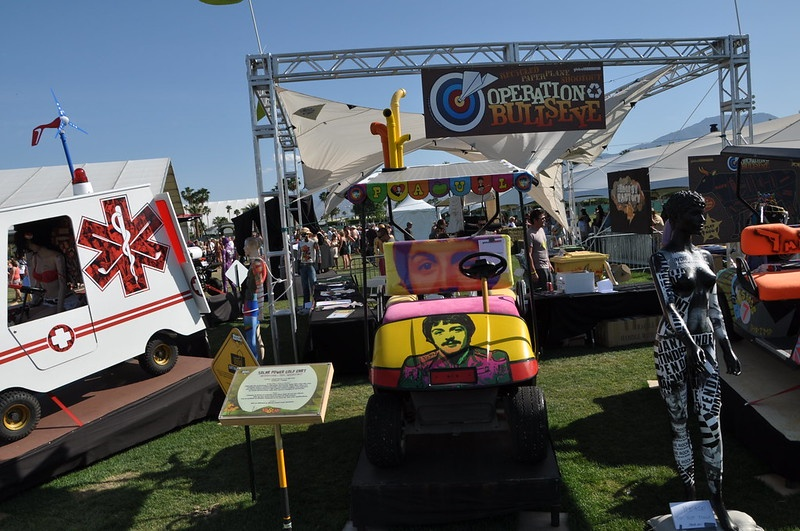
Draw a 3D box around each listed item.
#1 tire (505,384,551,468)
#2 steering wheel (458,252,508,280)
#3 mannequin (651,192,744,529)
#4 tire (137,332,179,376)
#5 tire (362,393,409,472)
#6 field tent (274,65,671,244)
[{"bbox_3d":[1.397,1.772,5.786,0.414,0.899,0.874,-6,3,-1],"label":"tire"},{"bbox_3d":[1.073,0.010,6.525,0.427,0.164,0.437,-3,-9,0],"label":"steering wheel"},{"bbox_3d":[2.976,0.904,5.324,0.732,3.292,0.624,-3,8,20],"label":"mannequin"},{"bbox_3d":[-3.862,1.420,8.488,0.175,0.573,0.562,-4,-4,30],"label":"tire"},{"bbox_3d":[-0.169,1.854,5.881,0.394,0.794,0.317,-4,7,13],"label":"tire"},{"bbox_3d":[1.089,-3.635,15.457,7.189,3.048,7.367,-1,4,13],"label":"field tent"}]
